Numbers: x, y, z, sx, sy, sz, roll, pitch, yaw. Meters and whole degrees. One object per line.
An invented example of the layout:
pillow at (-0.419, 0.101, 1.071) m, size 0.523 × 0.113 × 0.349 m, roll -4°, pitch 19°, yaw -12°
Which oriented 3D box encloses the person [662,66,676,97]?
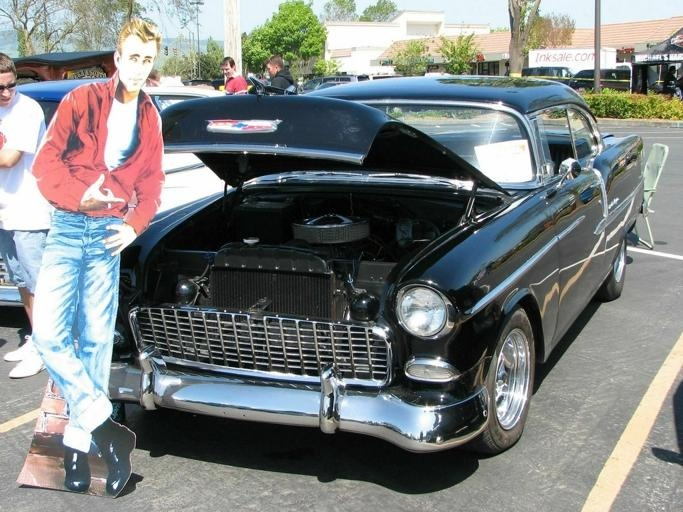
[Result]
person at (16.813, -8.927, 26.938) m, size 0.619 × 1.562 × 3.461 m, roll 7°, pitch 18°, yaw 30°
